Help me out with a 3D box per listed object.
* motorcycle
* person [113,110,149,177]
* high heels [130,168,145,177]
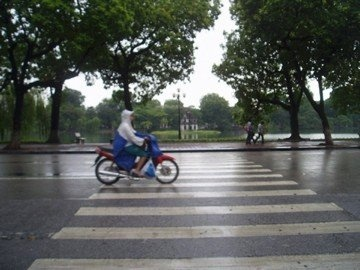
[{"bbox_3d":[-1.325,0.750,11.691,2.650,1.735,1.225,-1,8,-2],"label":"motorcycle"},{"bbox_3d":[-1.419,0.237,11.125,0.817,1.899,0.812,-1,6,-16],"label":"person"},{"bbox_3d":[-1.244,1.122,11.034,0.458,0.160,0.184,13,-6,9],"label":"high heels"}]
